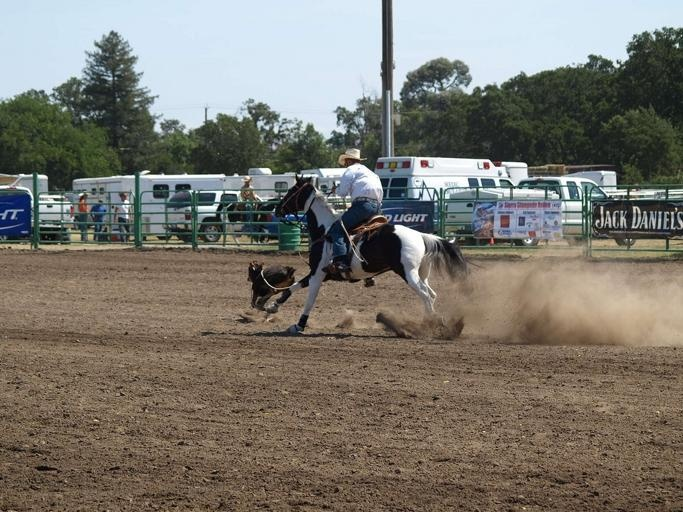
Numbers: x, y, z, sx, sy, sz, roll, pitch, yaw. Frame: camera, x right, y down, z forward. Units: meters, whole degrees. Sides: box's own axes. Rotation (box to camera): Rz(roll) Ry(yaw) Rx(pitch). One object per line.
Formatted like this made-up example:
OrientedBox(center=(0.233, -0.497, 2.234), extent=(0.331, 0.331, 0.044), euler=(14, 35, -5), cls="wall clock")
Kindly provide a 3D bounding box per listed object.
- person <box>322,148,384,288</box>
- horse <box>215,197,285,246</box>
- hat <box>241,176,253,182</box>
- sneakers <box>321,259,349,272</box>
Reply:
OrientedBox(center=(0.281, -0.754, 24.233), extent=(1.021, 2.732, 0.958), euler=(0, 1, 13), cls="person")
OrientedBox(center=(-2.723, -1.064, 36.393), extent=(2.203, 1.600, 1.320), euler=(0, -1, 23), cls="horse")
OrientedBox(center=(-2.977, -2.395, 38.281), extent=(0.325, 0.105, 0.340), euler=(3, -1, 12), cls="hat")
OrientedBox(center=(-0.116, 0.238, 23.933), extent=(0.490, 0.221, 0.178), euler=(2, -43, 15), cls="sneakers")
